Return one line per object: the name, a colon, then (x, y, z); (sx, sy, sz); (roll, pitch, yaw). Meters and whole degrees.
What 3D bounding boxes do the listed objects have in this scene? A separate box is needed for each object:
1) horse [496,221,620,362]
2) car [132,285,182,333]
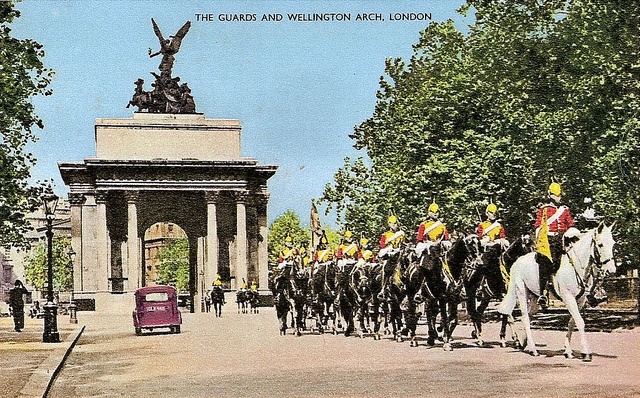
horse: (10.320, 3.988, 47.306); (4.934, 5.710, 1.294); (-11, -16, 42)
car: (-9.536, 6.388, 64.583); (2.626, 2.846, 1.253); (0, -12, -7)
